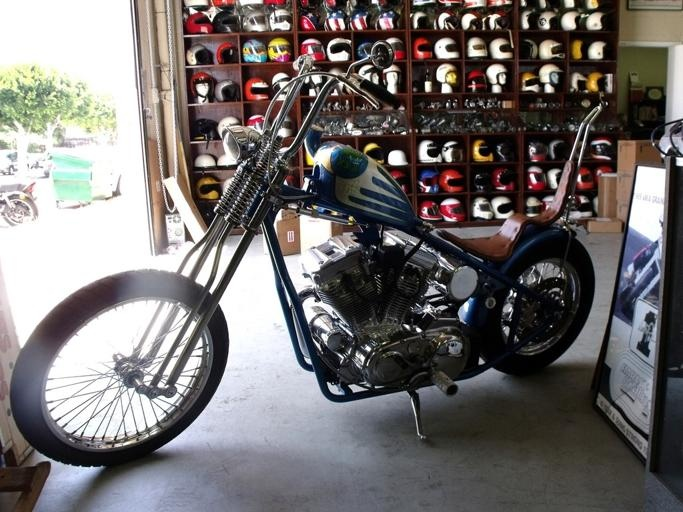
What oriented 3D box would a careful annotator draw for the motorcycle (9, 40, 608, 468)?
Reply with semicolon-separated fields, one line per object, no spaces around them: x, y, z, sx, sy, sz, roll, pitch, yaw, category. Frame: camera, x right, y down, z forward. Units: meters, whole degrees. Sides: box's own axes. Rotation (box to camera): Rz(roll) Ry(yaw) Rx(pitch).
-0.038;-0.021;2.482;2.766;1.813;1.018;-8;18;-23;motorcycle

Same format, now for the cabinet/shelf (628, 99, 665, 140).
4.524;-2.024;7.885;0.500;0.546;0.661;7;19;24;cabinet/shelf

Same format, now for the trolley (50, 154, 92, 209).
-5.890;-1.825;11.530;0.910;1.139;0.711;-4;34;-38;trolley

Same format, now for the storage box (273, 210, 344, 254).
-0.333;-0.248;5.566;0.814;0.563;0.438;1;0;-28;storage box
